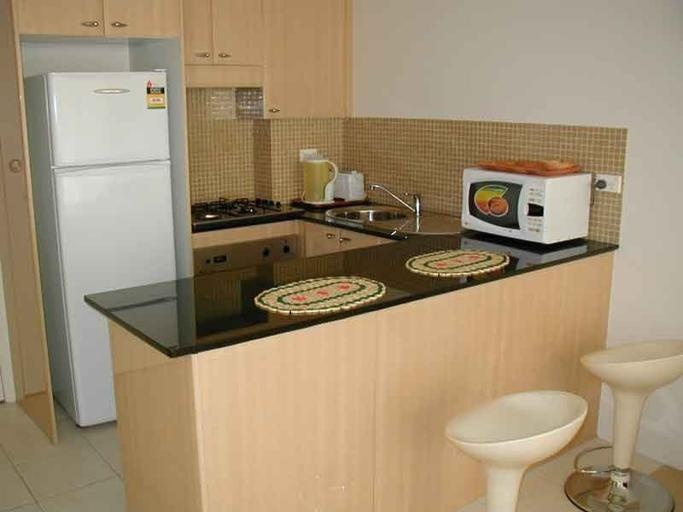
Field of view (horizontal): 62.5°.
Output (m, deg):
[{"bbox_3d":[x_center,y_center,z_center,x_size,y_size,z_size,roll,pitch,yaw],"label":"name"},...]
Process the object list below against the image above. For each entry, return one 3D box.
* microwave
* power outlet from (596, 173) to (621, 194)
[{"bbox_3d":[1.046,-0.293,3.186,0.503,0.388,0.661,-10,16,-35],"label":"microwave"},{"bbox_3d":[1.481,-0.403,3.098,0.045,0.078,0.119,-10,16,-32],"label":"power outlet"}]
